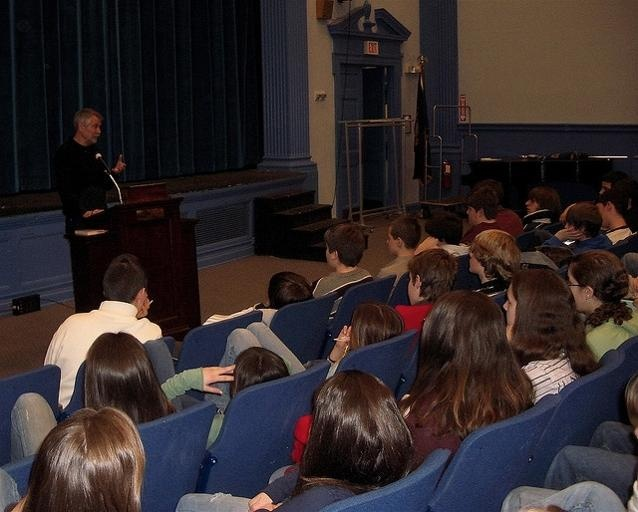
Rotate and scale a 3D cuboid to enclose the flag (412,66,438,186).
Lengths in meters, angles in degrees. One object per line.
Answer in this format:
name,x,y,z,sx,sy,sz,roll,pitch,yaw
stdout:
flag,1.914,-2.467,9.425,0.218,2.152,0.329,4,20,19
